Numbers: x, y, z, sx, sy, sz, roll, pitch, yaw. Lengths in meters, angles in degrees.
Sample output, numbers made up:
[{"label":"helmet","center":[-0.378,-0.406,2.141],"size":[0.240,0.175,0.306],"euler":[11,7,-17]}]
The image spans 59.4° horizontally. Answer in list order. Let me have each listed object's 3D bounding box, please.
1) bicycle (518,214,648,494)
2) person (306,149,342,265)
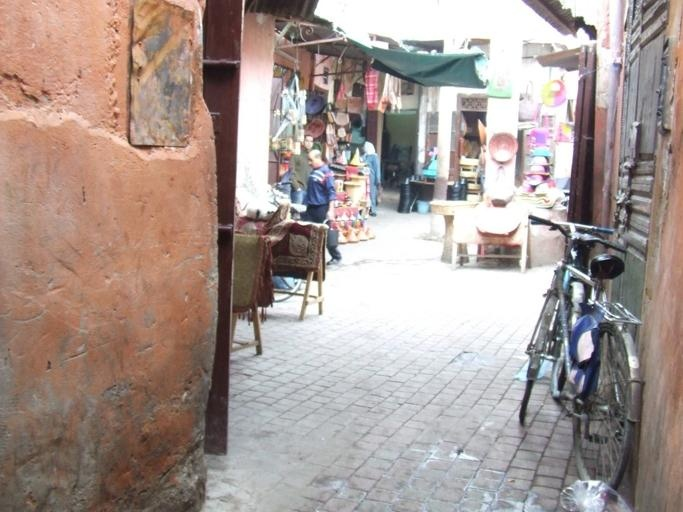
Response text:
[{"label":"bicycle","center":[1.654,0.651,4.217],"size":[0.732,1.712,1.917],"euler":[4,9,17]},{"label":"person","center":[-0.334,-0.985,12.080],"size":[0.699,2.310,1.274],"euler":[-1,9,-14]}]
